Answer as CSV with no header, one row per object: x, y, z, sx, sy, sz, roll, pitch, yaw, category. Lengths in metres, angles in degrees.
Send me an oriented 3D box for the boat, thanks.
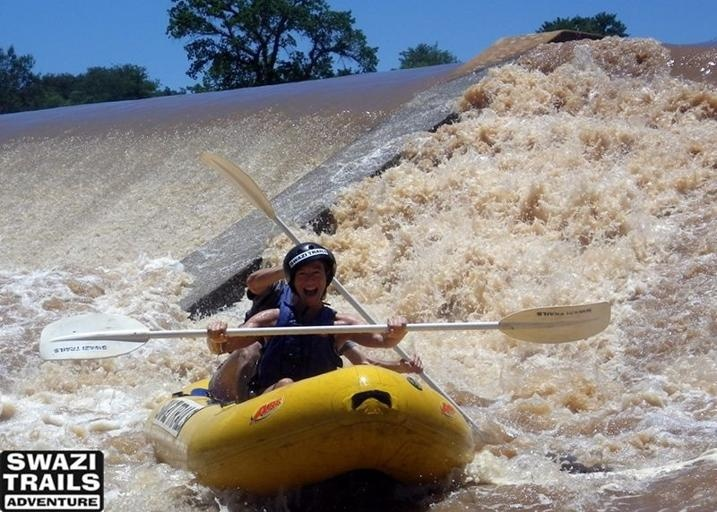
-0.626,1.544,7.790,2.431,1.104,3.605,3,-13,-31,boat

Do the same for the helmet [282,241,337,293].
-0.411,0.067,6.880,0.323,0.424,0.331,-3,11,-10,helmet

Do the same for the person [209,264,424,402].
-0.841,0.584,7.082,1.002,0.371,1.721,-15,29,-14,person
